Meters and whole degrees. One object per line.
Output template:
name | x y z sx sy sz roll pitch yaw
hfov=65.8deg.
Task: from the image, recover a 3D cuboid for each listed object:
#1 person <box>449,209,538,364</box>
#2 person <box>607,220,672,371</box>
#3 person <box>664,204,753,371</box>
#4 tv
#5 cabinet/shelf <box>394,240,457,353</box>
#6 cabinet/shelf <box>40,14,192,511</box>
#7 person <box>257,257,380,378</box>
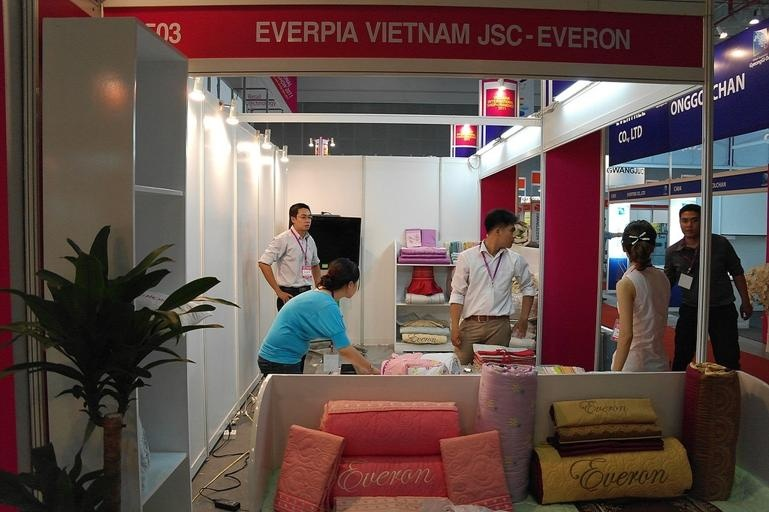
person | 0.975 0.595 5.534 0.738 2.042 0.465 3 16 6
person | 1.938 0.311 4.501 0.556 1.156 0.236 -2 3 -30
person | 2.580 0.277 4.864 0.872 1.397 0.494 -3 4 -40
tv | -0.852 -0.266 8.588 1.132 1.178 0.600 0 1 -9
cabinet/shelf | 0.530 0.524 7.885 0.807 1.416 1.021 0 3 2
cabinet/shelf | -1.627 0.134 3.742 0.695 3.121 0.673 1 3 22
person | -0.478 0.503 4.749 1.084 0.968 0.412 2 4 35
